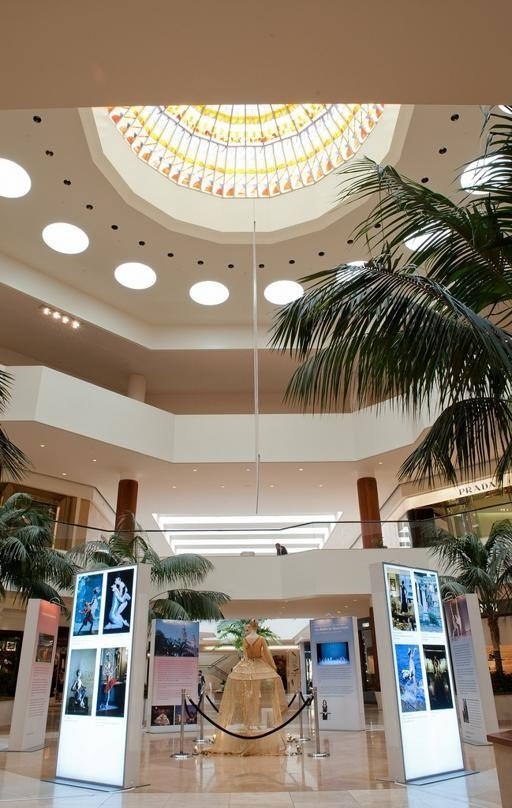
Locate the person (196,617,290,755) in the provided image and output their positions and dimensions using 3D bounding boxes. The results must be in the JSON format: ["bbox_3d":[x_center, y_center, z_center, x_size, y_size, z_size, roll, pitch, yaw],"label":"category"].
[{"bbox_3d":[-0.112,4.839,7.664,1.179,2.270,0.895,2,3,-4],"label":"person"}]
